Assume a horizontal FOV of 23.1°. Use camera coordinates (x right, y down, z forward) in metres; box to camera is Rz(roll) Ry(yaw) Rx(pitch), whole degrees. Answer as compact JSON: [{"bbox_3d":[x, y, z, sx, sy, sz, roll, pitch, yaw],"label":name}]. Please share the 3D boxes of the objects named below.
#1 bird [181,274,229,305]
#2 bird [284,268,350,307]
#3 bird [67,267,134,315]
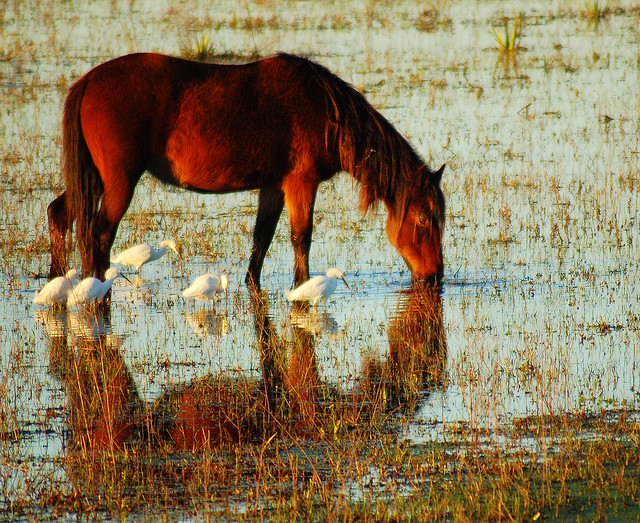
[{"bbox_3d":[-1.594,0.403,22.447,0.570,0.613,0.362,-1,12,-11],"label":"bird"},{"bbox_3d":[0.006,0.292,22.417,0.673,0.666,0.366,8,23,17],"label":"bird"},{"bbox_3d":[-3.103,0.485,22.012,0.728,0.857,0.342,-8,-26,9],"label":"bird"}]
